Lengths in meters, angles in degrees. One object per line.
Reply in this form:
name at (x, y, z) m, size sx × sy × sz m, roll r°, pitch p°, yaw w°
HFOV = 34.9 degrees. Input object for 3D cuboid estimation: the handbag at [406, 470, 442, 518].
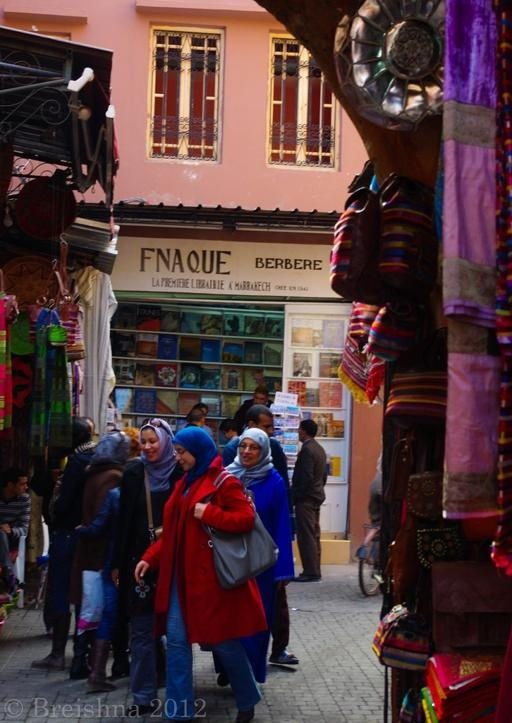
handbag at (0.540, 0.426, 2.601) m, size 0.139 × 0.132 × 0.043 m, roll -4°, pitch -6°, yaw 26°

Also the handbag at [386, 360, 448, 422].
handbag at (0.529, 0.106, 2.641) m, size 0.172 × 0.162 × 0.061 m, roll -2°, pitch -32°, yaw 17°

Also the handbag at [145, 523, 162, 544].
handbag at (-0.613, 1.041, 4.910) m, size 0.089 × 0.108 × 0.118 m, roll 2°, pitch -9°, yaw -3°

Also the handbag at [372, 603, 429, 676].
handbag at (0.478, 0.914, 2.751) m, size 0.181 × 0.213 × 0.315 m, roll 10°, pitch -5°, yaw 0°

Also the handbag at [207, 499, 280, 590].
handbag at (-0.053, 1.032, 4.403) m, size 0.167 × 0.373 × 0.446 m, roll -5°, pitch -10°, yaw 44°

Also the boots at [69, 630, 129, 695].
boots at (-1.063, 1.993, 5.438) m, size 0.351 × 0.375 × 0.418 m, roll 1°, pitch 0°, yaw 18°

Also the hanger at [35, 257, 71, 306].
hanger at (-1.639, -0.620, 6.602) m, size 0.428 × 0.455 × 0.114 m, roll 4°, pitch 5°, yaw 43°

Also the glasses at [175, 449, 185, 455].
glasses at (-0.414, 0.493, 4.449) m, size 0.038 × 0.022 × 0.050 m, roll 8°, pitch -1°, yaw -3°

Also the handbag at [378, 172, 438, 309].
handbag at (0.512, -0.411, 2.687) m, size 0.196 × 0.360 × 0.292 m, roll -1°, pitch -8°, yaw 25°

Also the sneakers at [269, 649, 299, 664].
sneakers at (0.204, 2.234, 6.170) m, size 0.229 × 0.088 × 0.082 m, roll -4°, pitch -9°, yaw 19°

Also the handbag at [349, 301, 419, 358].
handbag at (0.488, -0.127, 3.064) m, size 0.248 × 0.182 × 0.274 m, roll 2°, pitch -25°, yaw -18°
